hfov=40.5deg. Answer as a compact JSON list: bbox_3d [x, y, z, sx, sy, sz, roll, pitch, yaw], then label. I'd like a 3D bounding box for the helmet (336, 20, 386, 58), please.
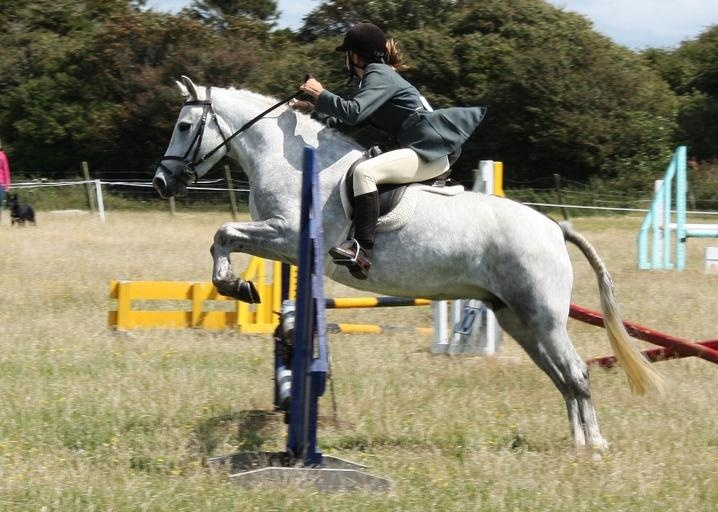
[{"bbox_3d":[0.091,-2.192,9.832,0.589,0.205,0.354,15,27,18],"label":"helmet"}]

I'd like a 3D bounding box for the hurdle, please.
[{"bbox_3d":[-0.542,0.602,9.040,1.518,3.216,0.601,-2,9,-6],"label":"hurdle"}]
